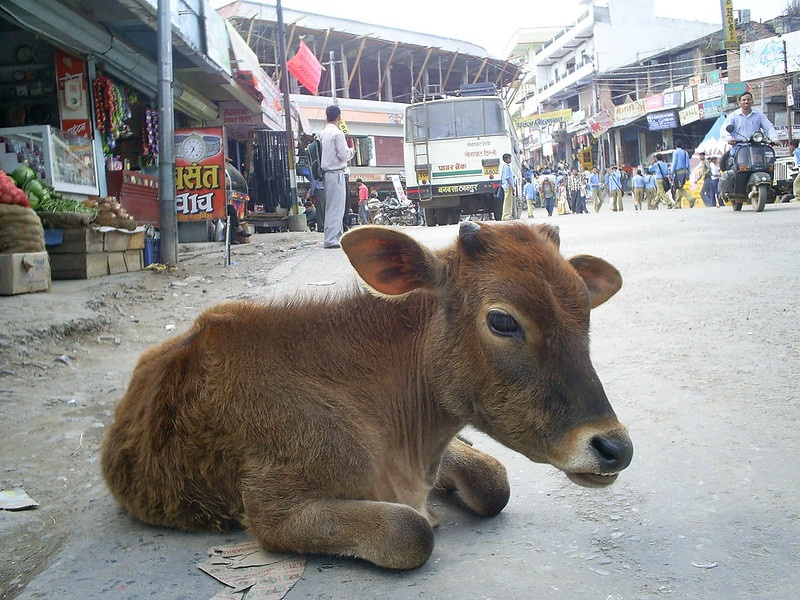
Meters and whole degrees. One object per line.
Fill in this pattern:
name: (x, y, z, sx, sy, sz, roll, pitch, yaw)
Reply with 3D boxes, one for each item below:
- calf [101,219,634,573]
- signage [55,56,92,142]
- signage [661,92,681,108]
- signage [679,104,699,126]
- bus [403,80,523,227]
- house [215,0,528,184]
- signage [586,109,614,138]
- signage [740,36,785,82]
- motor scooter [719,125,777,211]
calf: (-0.157, 0.411, 3.193, 2.037, 1.111, 1.310, -1, -3, 29)
signage: (-5.537, -3.386, 11.697, 0.497, 1.390, 0.293, -6, 8, -27)
signage: (14.042, -10.163, 35.760, 0.509, 0.998, 0.992, 1, 0, -28)
signage: (14.491, -9.060, 34.441, 0.647, 1.146, 1.239, -4, -1, -6)
bus: (1.431, -3.596, 18.235, 2.665, 2.996, 5.379, 0, 16, 10)
house: (-1.267, -15.405, 45.868, 12.739, 7.023, 22.032, 0, 0, 23)
signage: (12.224, -10.542, 42.154, 0.228, 1.785, 1.583, 17, -44, -29)
signage: (16.043, -10.378, 30.506, 0.314, 2.042, 2.261, -2, 0, -23)
motor scooter: (7.027, -2.519, 14.019, 0.828, 1.545, 1.031, -8, 9, -35)
